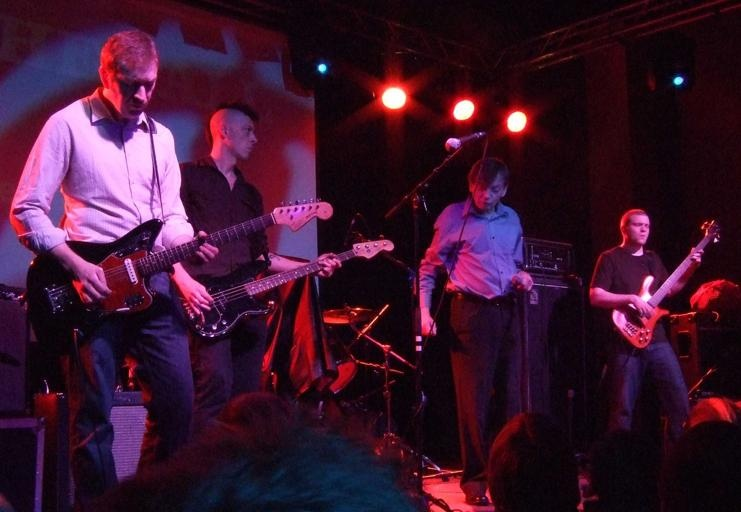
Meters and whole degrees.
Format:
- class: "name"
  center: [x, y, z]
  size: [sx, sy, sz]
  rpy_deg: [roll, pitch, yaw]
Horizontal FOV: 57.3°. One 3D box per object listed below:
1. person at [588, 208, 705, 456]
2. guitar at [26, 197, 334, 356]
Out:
- class: "person"
  center: [2.524, 0.868, 6.146]
  size: [0.912, 2.544, 0.778]
  rpy_deg: [-3, 2, 18]
- class: "guitar"
  center: [-1.201, 0.095, 4.058]
  size: [0.564, 0.769, 1.479]
  rpy_deg: [3, -4, 30]
